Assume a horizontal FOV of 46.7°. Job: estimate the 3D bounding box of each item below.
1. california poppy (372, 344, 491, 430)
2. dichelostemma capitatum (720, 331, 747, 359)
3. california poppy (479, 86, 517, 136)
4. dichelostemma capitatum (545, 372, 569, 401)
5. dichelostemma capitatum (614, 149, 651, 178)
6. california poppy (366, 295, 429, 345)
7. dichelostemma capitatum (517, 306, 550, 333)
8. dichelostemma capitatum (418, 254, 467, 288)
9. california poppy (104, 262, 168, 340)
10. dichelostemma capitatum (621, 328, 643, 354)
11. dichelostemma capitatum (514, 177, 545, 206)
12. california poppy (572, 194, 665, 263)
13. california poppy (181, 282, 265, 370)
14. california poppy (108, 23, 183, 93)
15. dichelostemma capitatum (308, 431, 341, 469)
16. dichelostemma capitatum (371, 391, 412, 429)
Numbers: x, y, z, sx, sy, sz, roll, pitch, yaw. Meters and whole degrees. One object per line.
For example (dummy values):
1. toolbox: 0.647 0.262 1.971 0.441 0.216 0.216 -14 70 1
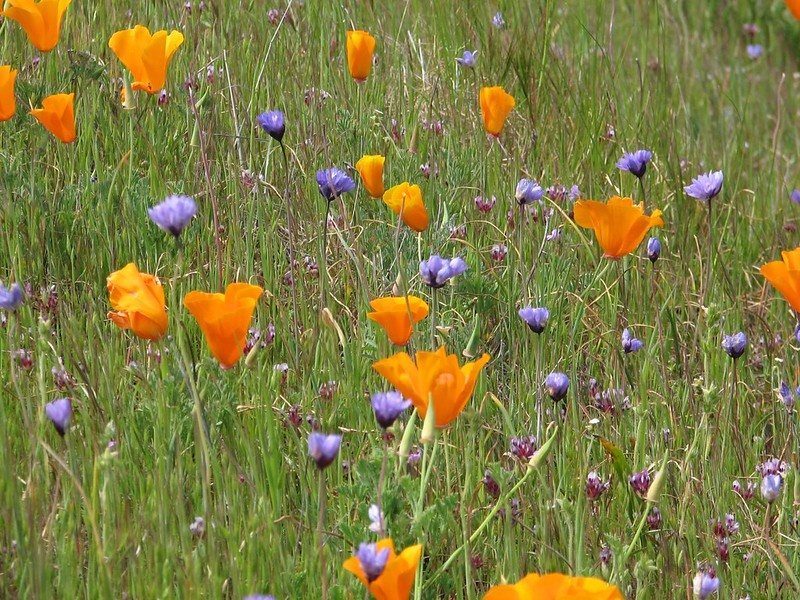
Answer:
1. california poppy: 0.074 0.198 2.240 0.164 0.225 0.188 3 79 -7
2. dichelostemma capitatum: 1.003 0.133 2.794 0.070 0.083 0.123 4 93 25
3. california poppy: 0.350 -0.673 3.311 0.114 0.149 0.203 5 104 -4
4. dichelostemma capitatum: 0.421 0.227 2.509 0.053 0.064 0.090 1 91 -23
5. dichelostemma capitatum: 0.812 -0.473 3.189 0.109 0.145 0.095 -12 84 5
6. california poppy: -0.007 0.042 2.510 0.104 0.137 0.123 1 87 9
7. dichelostemma capitatum: 0.385 0.049 2.632 0.062 0.079 0.096 0 94 -7
8. dichelostemma capitatum: 0.118 -0.092 2.597 0.081 0.101 0.074 -5 109 -13
9. california poppy: -0.693 0.036 2.437 0.158 0.208 0.187 1 56 -14
10. dichelostemma capitatum: 0.763 0.136 3.060 0.059 0.057 0.051 28 84 -3
11. dichelostemma capitatum: 0.429 -0.369 3.059 0.092 0.101 0.057 42 85 2
12. california poppy: 0.645 -0.220 2.782 0.182 0.197 0.176 10 86 43
13. california poppy: -0.457 0.029 2.405 0.148 0.203 0.233 1 101 12
14. california poppy: -0.837 -0.838 3.118 0.182 0.222 0.275 -6 106 19
15. dichelostemma capitatum: -0.167 0.319 2.043 0.067 0.072 0.090 3 96 -22
16. dichelostemma capitatum: -0.024 0.266 2.155 0.073 0.089 0.079 13 15 36
